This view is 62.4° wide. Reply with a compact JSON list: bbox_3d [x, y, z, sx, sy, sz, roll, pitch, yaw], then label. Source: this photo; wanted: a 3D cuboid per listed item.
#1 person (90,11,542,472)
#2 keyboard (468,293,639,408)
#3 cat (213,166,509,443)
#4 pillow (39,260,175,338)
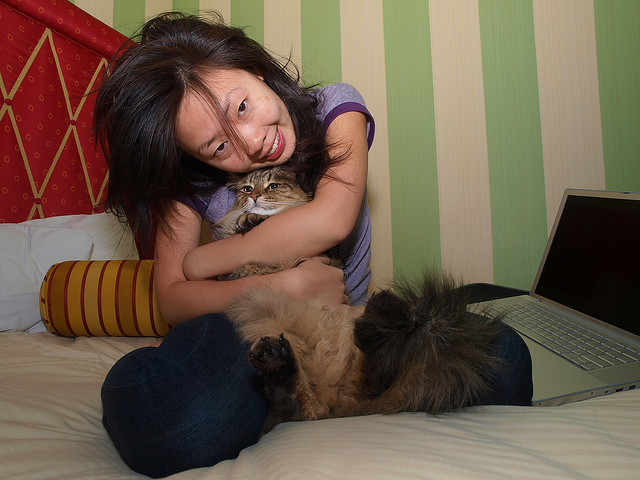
[{"bbox_3d":[0.026,-0.022,1.637,1.079,1.355,0.945,-13,4,-13],"label":"person"},{"bbox_3d":[0.735,0.289,1.590,0.381,0.081,0.677,-3,16,4],"label":"keyboard"},{"bbox_3d":[0.056,0.067,1.382,0.540,0.746,0.325,-9,-2,-14],"label":"cat"},{"bbox_3d":[-0.781,0.209,2.052,0.524,0.290,0.263,0,-3,0],"label":"pillow"}]
